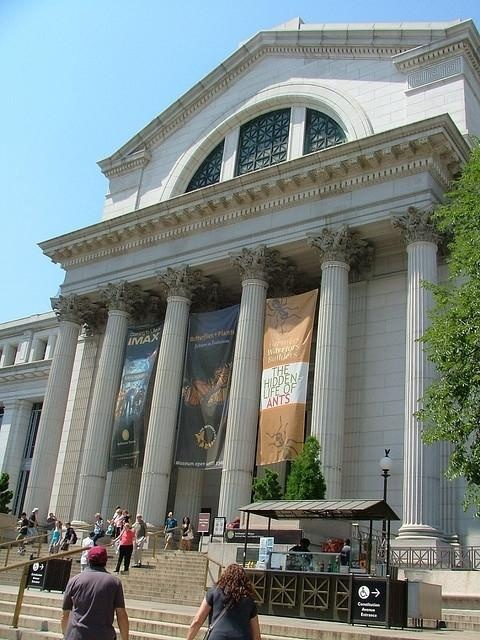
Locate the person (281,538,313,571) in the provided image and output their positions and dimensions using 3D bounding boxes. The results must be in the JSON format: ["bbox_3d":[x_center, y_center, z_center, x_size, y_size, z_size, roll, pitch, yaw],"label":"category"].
[{"bbox_3d":[1.241,4.987,11.664,0.503,0.830,0.917,-4,-15,17],"label":"person"}]

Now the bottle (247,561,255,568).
[{"bbox_3d":[0.251,5.397,12.591,0.146,0.070,0.185,0,-14,1],"label":"bottle"}]
